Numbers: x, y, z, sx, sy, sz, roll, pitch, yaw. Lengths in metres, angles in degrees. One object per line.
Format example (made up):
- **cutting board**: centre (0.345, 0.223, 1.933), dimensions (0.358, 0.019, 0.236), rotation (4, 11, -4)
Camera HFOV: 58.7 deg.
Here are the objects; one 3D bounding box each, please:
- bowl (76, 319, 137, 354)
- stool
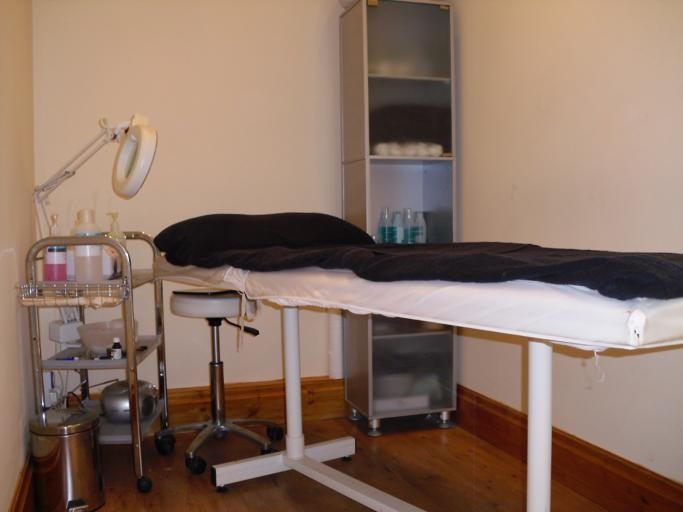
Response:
- **bowl**: centre (-1.244, 0.411, 3.199), dimensions (0.321, 0.186, 0.317), rotation (6, 1, 0)
- **stool**: centre (-0.625, 0.654, 3.581), dimensions (0.801, 1.042, 0.816), rotation (0, 1, -1)
